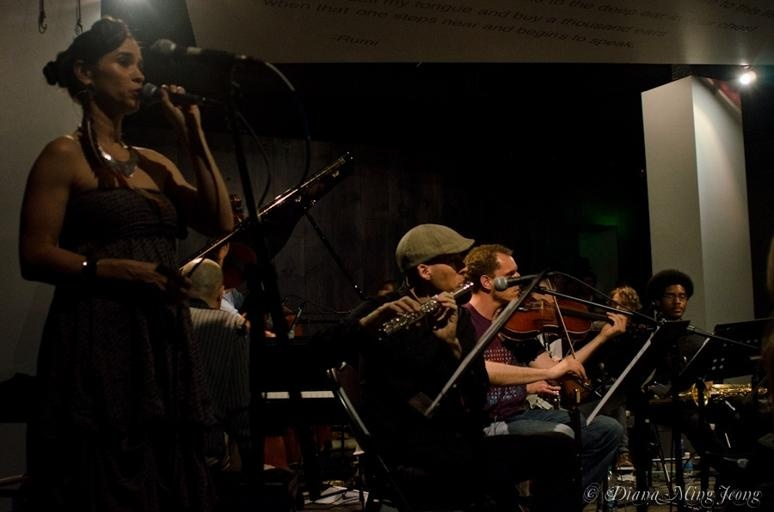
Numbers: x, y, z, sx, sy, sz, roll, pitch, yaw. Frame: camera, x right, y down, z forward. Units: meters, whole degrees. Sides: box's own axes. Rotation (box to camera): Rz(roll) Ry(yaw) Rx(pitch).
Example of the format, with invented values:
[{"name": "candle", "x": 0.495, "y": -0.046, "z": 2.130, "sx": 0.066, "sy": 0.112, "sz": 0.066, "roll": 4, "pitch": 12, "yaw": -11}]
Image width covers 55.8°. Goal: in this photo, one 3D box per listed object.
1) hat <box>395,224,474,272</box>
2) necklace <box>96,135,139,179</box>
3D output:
[{"name": "hat", "x": 0.387, "y": -0.115, "z": 5.227, "sx": 0.800, "sy": 0.401, "sz": 0.359, "roll": 2, "pitch": 3, "yaw": 23}, {"name": "necklace", "x": -1.414, "y": -0.516, "z": 3.833, "sx": 0.062, "sy": 0.185, "sz": 0.143, "roll": -36, "pitch": -8, "yaw": 38}]
